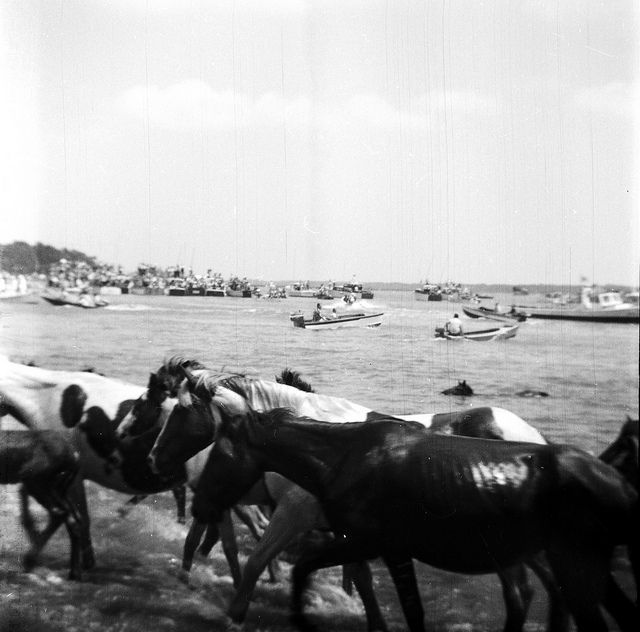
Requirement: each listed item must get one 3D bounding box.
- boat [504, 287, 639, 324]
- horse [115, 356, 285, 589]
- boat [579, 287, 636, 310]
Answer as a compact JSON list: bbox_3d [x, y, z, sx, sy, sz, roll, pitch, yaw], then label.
[{"bbox_3d":[1.410,-0.066,3.971,0.622,0.177,0.082,3,0,-7],"label":"boat"},{"bbox_3d":[-0.597,1.075,4.208,1.035,0.974,0.230,-10,-17,44],"label":"horse"},{"bbox_3d":[1.530,-0.094,3.959,0.105,0.134,0.401,-1,1,-12],"label":"boat"}]
